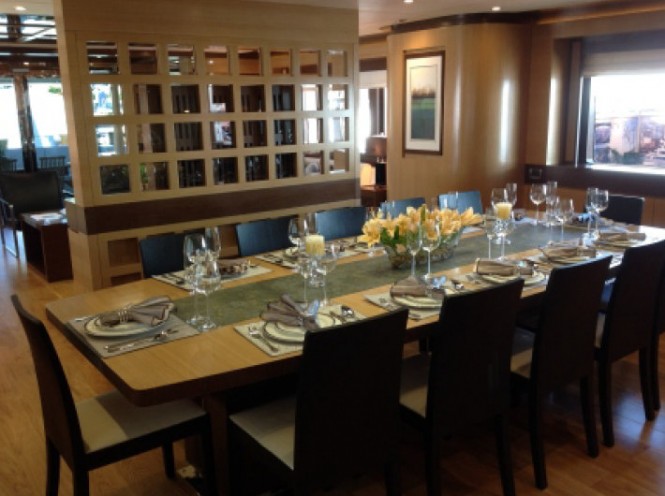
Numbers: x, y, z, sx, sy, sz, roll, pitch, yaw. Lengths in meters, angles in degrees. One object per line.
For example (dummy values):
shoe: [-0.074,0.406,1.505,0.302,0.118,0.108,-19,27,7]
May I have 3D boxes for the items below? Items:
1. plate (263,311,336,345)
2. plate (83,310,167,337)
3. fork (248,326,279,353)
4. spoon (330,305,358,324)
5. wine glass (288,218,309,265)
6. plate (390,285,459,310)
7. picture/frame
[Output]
plate: [-0.137,0.351,2.287,0.342,0.058,0.207,-4,12,-5]
plate: [-0.934,0.345,2.329,0.176,0.028,0.185,-10,21,-36]
fork: [-0.297,0.391,2.231,0.052,0.043,0.297,-12,19,-23]
spoon: [0.053,0.287,2.422,0.127,0.036,0.251,-2,12,1]
wine glass: [-0.179,-0.026,2.817,0.121,0.293,0.120,-8,22,-23]
plate: [0.440,0.242,2.543,0.303,0.060,0.195,-2,12,1]
picture/frame: [1.116,-1.750,6.429,0.038,1.166,0.583,-13,16,-40]
